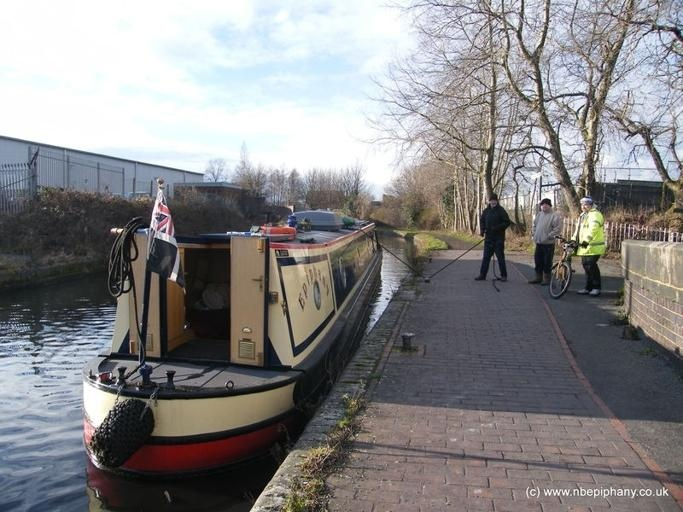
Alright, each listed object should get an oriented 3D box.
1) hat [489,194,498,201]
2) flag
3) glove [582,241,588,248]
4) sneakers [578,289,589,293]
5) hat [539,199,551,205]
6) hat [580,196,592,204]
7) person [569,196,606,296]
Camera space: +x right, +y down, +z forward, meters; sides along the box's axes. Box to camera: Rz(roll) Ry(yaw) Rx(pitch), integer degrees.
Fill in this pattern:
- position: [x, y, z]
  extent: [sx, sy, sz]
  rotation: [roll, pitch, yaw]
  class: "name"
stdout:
- position: [3.572, -1.355, 14.729]
  extent: [0.238, 0.130, 0.365]
  rotation: [-3, 12, 14]
  class: "hat"
- position: [-2.316, -0.340, 8.262]
  extent: [0.434, 1.597, 0.158]
  rotation: [0, -29, -18]
  class: "flag"
- position: [5.012, -0.240, 12.953]
  extent: [0.063, 0.149, 0.208]
  rotation: [-8, 13, -21]
  class: "glove"
- position: [5.302, 0.766, 13.780]
  extent: [0.204, 0.103, 0.082]
  rotation: [4, 7, 17]
  class: "sneakers"
- position: [4.601, -1.202, 14.100]
  extent: [0.216, 0.182, 0.375]
  rotation: [-1, 13, 14]
  class: "hat"
- position: [5.134, -1.151, 13.110]
  extent: [0.209, 0.175, 0.415]
  rotation: [2, 14, 24]
  class: "hat"
- position: [5.268, -0.186, 13.403]
  extent: [0.604, 2.201, 1.185]
  rotation: [1, 12, 21]
  class: "person"
